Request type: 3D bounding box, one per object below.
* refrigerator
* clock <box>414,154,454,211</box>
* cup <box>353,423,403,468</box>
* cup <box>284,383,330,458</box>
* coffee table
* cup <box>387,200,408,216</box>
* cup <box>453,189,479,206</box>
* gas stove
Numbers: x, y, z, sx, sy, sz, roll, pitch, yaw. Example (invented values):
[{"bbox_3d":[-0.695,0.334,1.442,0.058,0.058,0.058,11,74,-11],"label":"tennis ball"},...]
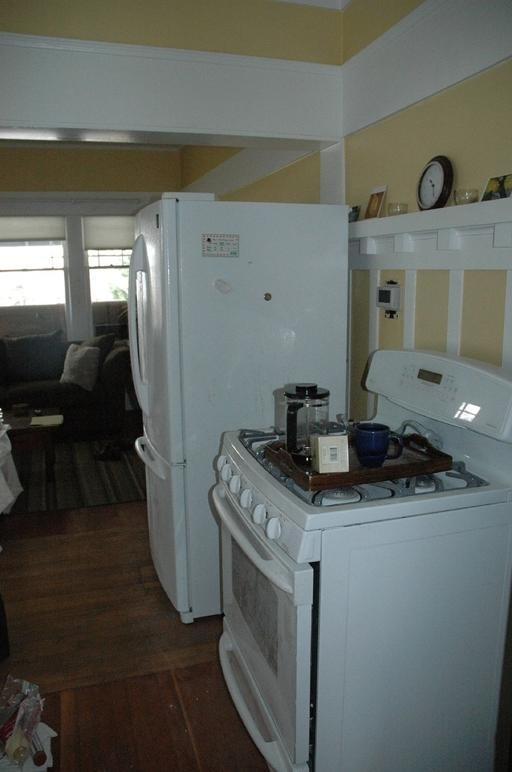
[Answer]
[{"bbox_3d":[-0.071,-0.140,3.402,1.393,2.852,1.403,-1,8,-13],"label":"refrigerator"},{"bbox_3d":[0.542,-0.612,1.660,0.053,0.156,0.170,-4,9,-19],"label":"clock"},{"bbox_3d":[0.291,0.147,1.368,0.083,0.096,0.132,-7,16,-18],"label":"cup"},{"bbox_3d":[0.131,0.094,1.410,0.103,0.172,0.152,6,10,43],"label":"cup"},{"bbox_3d":[-1.356,0.337,3.564,0.477,0.488,0.331,-1,10,-10],"label":"coffee table"},{"bbox_3d":[0.488,-0.590,1.847,0.062,0.047,0.065,-1,12,0],"label":"cup"},{"bbox_3d":[0.571,-0.502,1.479,0.060,0.042,0.052,5,15,24],"label":"cup"},{"bbox_3d":[0.210,0.223,1.449,0.552,0.169,0.703,-4,9,-18],"label":"gas stove"}]
